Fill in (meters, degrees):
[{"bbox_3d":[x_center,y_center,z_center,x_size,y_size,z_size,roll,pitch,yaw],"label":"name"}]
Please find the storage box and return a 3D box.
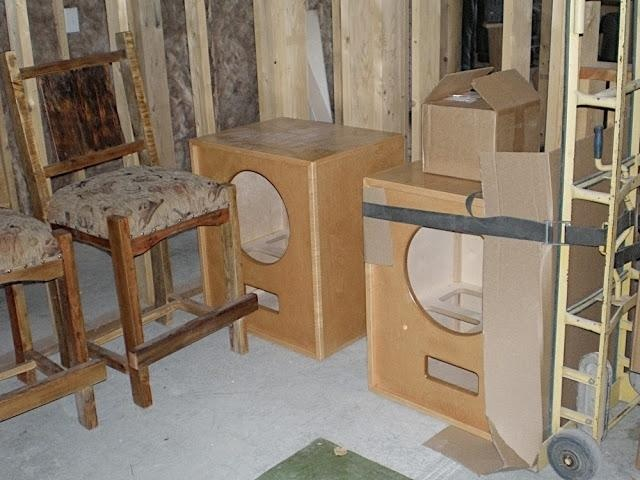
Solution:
[{"bbox_3d":[0.552,-0.414,2.031,0.300,0.348,0.324,15,28,41],"label":"storage box"}]
